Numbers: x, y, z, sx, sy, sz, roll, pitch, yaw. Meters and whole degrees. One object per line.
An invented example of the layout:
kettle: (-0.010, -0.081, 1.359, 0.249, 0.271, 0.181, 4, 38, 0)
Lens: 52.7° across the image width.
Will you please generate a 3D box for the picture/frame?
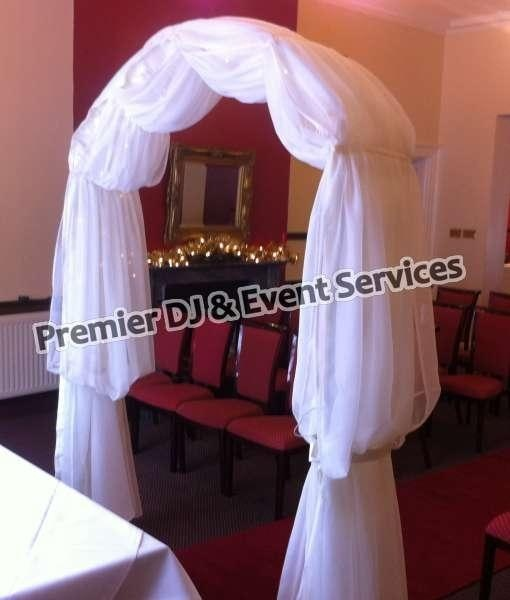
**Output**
picture/frame: (-0.548, -1.210, 5.730, 0.937, 1.253, 0.072, -5, 12, -42)
